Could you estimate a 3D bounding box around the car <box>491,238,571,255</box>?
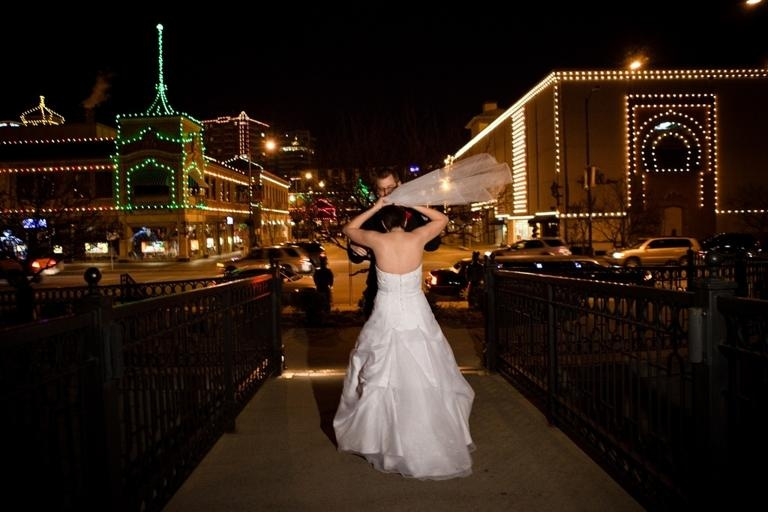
[{"bbox_3d":[8.007,-0.530,32.449,2.740,0.997,1.322,1,-2,6],"label":"car"}]
